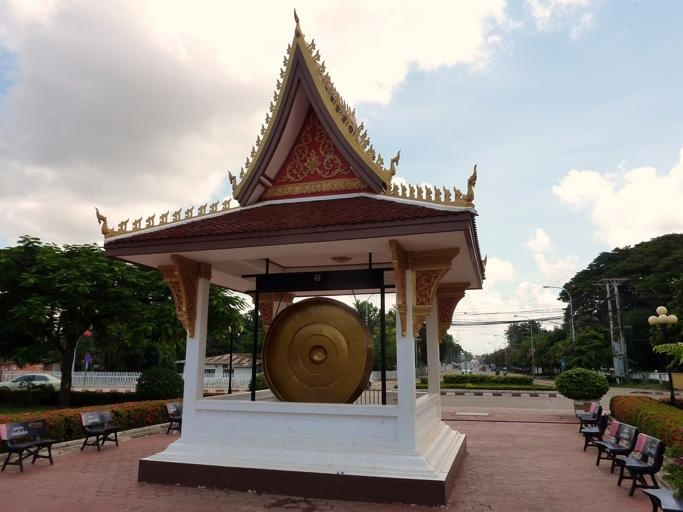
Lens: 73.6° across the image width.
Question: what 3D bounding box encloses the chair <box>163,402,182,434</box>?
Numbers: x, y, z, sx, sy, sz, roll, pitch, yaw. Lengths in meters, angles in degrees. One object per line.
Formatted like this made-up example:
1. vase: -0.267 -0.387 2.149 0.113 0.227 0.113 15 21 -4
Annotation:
1. chair: -6.093 5.813 16.486 0.503 1.130 1.890 2 -10 -21
